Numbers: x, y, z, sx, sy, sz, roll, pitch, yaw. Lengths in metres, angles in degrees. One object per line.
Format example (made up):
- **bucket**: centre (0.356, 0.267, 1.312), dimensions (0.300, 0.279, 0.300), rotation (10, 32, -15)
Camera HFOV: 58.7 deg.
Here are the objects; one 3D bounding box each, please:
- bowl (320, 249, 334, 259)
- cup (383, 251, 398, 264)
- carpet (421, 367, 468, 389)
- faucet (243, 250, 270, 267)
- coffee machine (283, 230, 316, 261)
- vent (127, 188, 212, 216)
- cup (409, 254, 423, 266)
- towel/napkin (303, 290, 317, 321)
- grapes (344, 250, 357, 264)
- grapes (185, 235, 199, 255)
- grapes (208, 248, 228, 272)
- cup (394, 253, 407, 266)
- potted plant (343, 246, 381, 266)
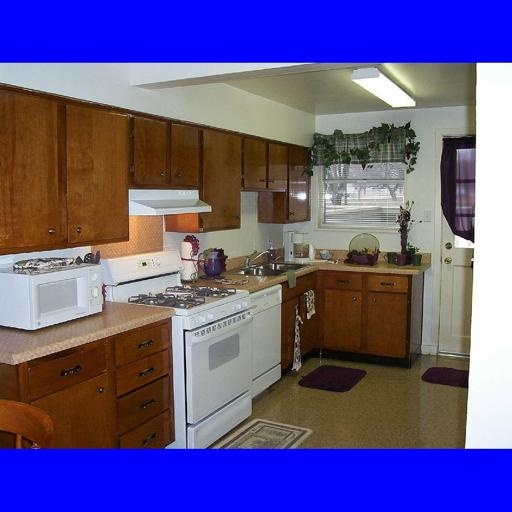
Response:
- **bowl**: centre (0.859, -0.010, 5.436), dimensions (0.187, 0.100, 0.166), rotation (0, 6, -12)
- **cup**: centre (1.516, 0.017, 5.141), dimensions (0.149, 0.143, 0.097), rotation (5, 6, 37)
- **carpet**: centre (1.882, 1.191, 4.520), dimensions (0.407, 0.049, 0.573), rotation (5, 7, 28)
- **faucet**: centre (-0.014, 0.021, 4.921), dimensions (0.112, 0.159, 0.394), rotation (7, 14, 36)
- **coffee machine**: centre (0.490, -0.128, 5.386), dimensions (0.428, 0.426, 0.282), rotation (0, 6, 3)
- **vent**: centre (-0.596, -0.393, 3.242), dimensions (0.157, 0.191, 0.745), rotation (4, 7, 28)
- **cup**: centre (1.751, 0.043, 4.984), dimensions (0.116, 0.136, 0.127), rotation (1, -3, 0)
- **towel/napkin**: centre (0.545, 0.510, 4.679), dimensions (0.046, 0.372, 0.350), rotation (-2, 1, 23)
- **grapes**: centre (1.060, 0.008, 5.074), dimensions (0.054, 0.138, 0.126), rotation (8, -6, -29)
- **grapes**: centre (-0.534, -0.087, 3.768), dimensions (0.115, 0.165, 0.162), rotation (2, 6, 2)
- **grapes**: centre (-0.306, 0.033, 3.971), dimensions (0.183, 0.211, 0.186), rotation (0, 9, 4)
- **cup**: centre (1.586, 0.039, 4.981), dimensions (0.128, 0.103, 0.102), rotation (-1, 0, 33)
- **potted plant**: centre (1.173, 0.007, 5.087), dimensions (0.371, 0.165, 0.336), rotation (3, 6, 17)
